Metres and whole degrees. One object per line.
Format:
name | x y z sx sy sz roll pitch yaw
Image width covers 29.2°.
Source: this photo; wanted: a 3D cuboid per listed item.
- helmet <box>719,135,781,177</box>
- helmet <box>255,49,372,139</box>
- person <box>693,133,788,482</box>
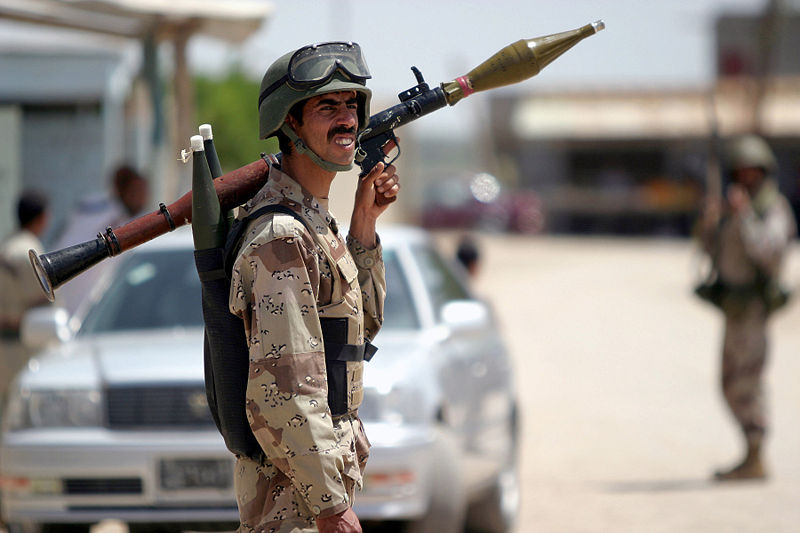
helmet | 2.352 -0.755 10.317 0.333 0.274 0.166 -2 5 14
helmet | -0.403 -0.925 8.132 0.509 0.405 0.563 -5 -2 4
person | 2.294 0.224 10.160 0.571 2.165 0.900 -2 5 19
